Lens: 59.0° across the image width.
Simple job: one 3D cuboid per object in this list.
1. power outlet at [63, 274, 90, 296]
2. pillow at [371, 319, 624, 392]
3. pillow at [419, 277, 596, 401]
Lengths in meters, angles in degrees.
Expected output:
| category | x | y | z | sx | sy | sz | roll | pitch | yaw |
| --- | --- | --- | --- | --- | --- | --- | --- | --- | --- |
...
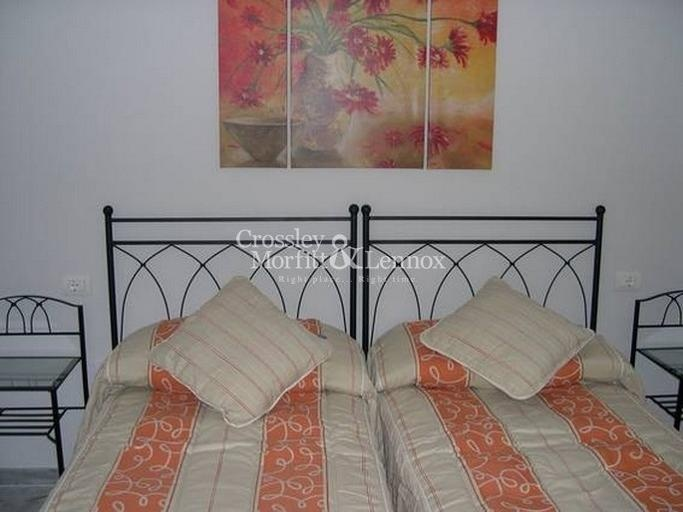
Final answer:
| category | x | y | z | sx | sy | sz | roll | pitch | yaw |
| --- | --- | --- | --- | --- | --- | --- | --- | --- | --- |
| power outlet | -1.448 | 0.155 | 3.307 | 0.106 | 0.113 | 0.026 | 3 | 7 | -4 |
| pillow | 0.739 | 0.510 | 2.943 | 0.749 | 0.216 | 0.521 | 0 | 17 | -1 |
| pillow | 0.798 | 0.397 | 2.972 | 0.733 | 0.168 | 0.803 | -17 | 34 | -10 |
